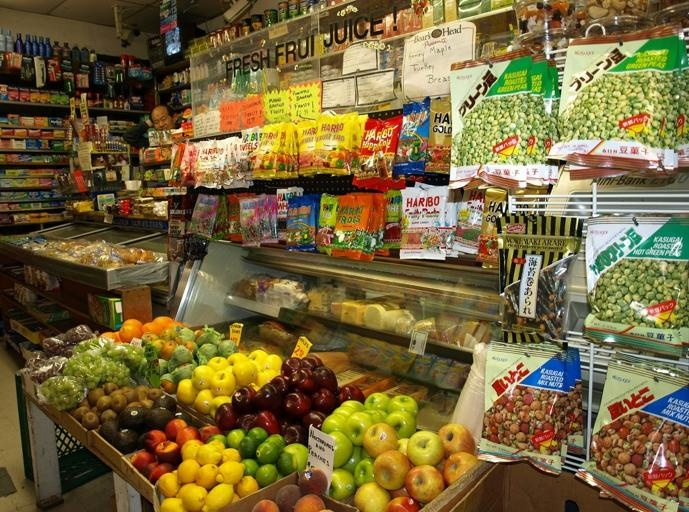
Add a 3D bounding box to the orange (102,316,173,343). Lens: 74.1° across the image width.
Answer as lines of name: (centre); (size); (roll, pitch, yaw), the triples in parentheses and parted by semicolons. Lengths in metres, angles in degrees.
orange: (-1.231, 0.453, 2.774); (0.254, 0.091, 0.249); (-7, 3, 39)
